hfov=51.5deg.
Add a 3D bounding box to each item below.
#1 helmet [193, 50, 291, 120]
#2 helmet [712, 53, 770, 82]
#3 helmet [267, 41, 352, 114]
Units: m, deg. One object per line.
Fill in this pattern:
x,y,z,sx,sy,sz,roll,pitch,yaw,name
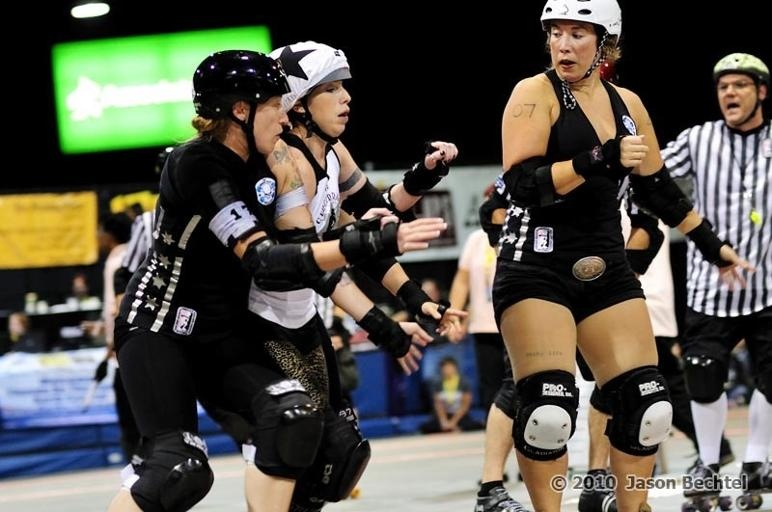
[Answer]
-0.721,-0.799,3.917,0.478,0.297,0.389,-3,-2,-21,helmet
2.371,-1.283,5.467,0.354,0.239,0.248,-4,3,13,helmet
-0.380,-0.948,4.221,0.390,0.326,0.309,-2,14,21,helmet
